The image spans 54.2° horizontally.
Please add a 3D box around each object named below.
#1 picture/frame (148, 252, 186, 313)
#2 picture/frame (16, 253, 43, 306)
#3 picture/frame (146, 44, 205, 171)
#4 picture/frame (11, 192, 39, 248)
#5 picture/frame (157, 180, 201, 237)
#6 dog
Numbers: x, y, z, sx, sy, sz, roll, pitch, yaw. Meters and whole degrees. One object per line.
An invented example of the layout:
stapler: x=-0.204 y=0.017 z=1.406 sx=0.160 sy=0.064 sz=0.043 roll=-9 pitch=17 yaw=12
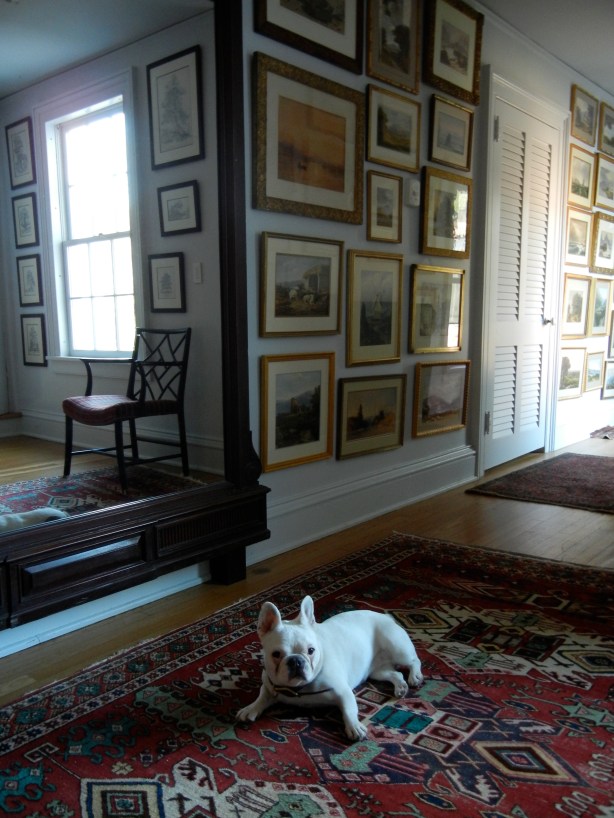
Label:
picture/frame: x=-0.512 y=-0.457 z=2.190 sx=0.027 sy=0.218 sz=0.180 roll=2 pitch=8 yaw=31
picture/frame: x=-0.824 y=-0.374 z=1.775 sx=0.024 sy=0.152 sz=0.079 roll=3 pitch=8 yaw=35
picture/frame: x=-0.473 y=-1.070 z=2.129 sx=0.060 sy=0.472 sz=0.293 roll=1 pitch=7 yaw=26
picture/frame: x=-0.820 y=-0.539 z=1.736 sx=0.022 sy=0.157 sz=0.070 roll=3 pitch=8 yaw=37
picture/frame: x=-0.480 y=-0.733 z=2.194 sx=0.016 sy=0.222 sz=0.223 roll=6 pitch=12 yaw=33
dog: x=0.069 y=0.584 z=1.510 sx=0.286 sy=0.235 sz=0.446 roll=-4 pitch=-10 yaw=26
